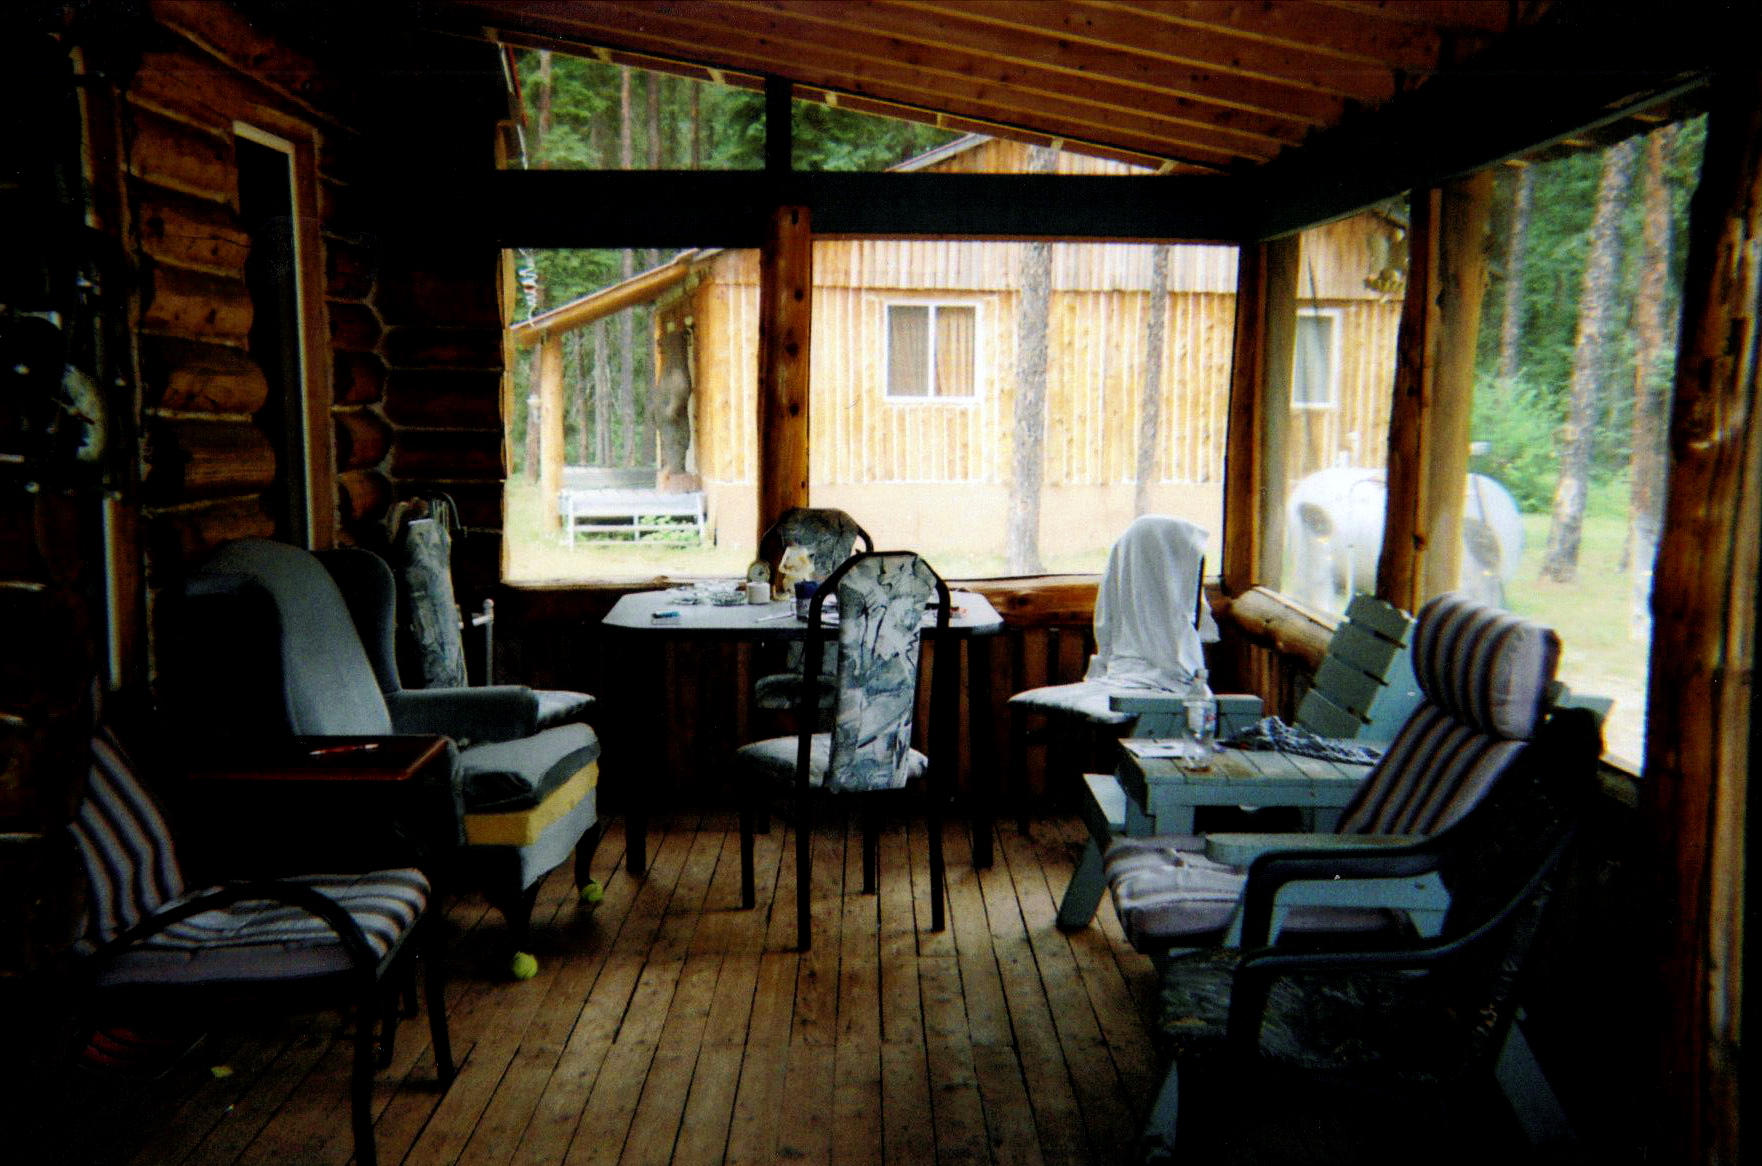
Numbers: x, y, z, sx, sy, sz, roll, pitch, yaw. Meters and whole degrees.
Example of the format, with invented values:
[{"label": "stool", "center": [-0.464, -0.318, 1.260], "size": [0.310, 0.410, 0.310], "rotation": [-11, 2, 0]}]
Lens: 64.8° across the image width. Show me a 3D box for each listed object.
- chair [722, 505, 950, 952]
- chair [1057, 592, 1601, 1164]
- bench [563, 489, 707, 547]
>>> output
[{"label": "chair", "center": [-0.156, 0.495, 6.292], "size": [0.976, 1.556, 2.089], "rotation": [-2, 10, 2]}, {"label": "chair", "center": [1.369, 0.820, 4.815], "size": [1.610, 1.982, 1.538], "rotation": [0, 0, 4]}, {"label": "bench", "center": [-1.979, -0.565, 11.412], "size": [0.712, 0.287, 0.717], "rotation": [-1, 9, -8]}]
